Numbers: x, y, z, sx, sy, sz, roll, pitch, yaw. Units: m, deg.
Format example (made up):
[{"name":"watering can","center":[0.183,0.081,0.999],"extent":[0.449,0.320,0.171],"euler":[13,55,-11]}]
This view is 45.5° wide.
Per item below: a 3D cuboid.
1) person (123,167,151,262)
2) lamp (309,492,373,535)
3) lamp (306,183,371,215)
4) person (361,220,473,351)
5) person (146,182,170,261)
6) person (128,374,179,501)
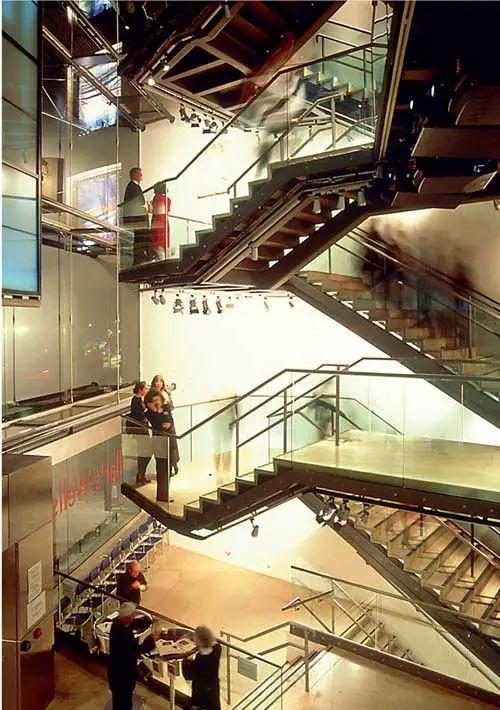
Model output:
[{"name":"person","center":[-1.428,-1.761,7.491],"extent":[0.287,1.241,0.473],"euler":[1,-1,-27]},{"name":"lamp","center":[1.045,1.729,6.584],"extent":[0.444,0.207,0.628],"euler":[11,-34,18]},{"name":"lamp","center":[0.924,-1.599,6.131],"extent":[0.408,0.182,0.412],"euler":[9,32,31]},{"name":"person","center":[2.016,-0.827,7.478],"extent":[0.424,1.685,1.546],"euler":[1,-1,-37]},{"name":"person","center":[-1.107,-1.619,7.269],"extent":[0.438,0.893,0.171],"euler":[0,-1,44]},{"name":"person","center":[-1.309,1.149,7.919],"extent":[0.665,1.515,0.995],"euler":[1,-1,-12]}]
